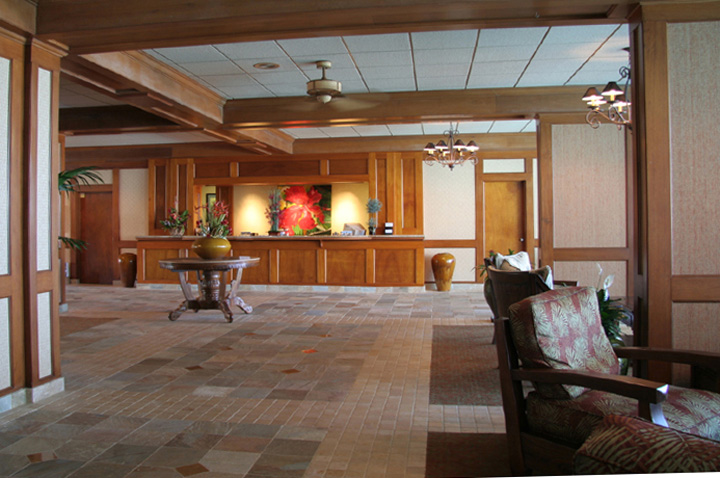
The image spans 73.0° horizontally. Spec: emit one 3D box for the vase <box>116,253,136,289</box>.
[{"bbox_3d":[-5.201,0.678,10.908,0.358,0.735,0.312,-4,9,-24],"label":"vase"}]

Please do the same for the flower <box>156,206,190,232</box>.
[{"bbox_3d":[-4.165,-0.398,10.939,0.625,0.538,0.514,-1,7,-6],"label":"flower"}]

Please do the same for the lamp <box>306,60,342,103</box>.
[{"bbox_3d":[-0.551,-2.171,6.688,0.651,0.473,0.543,7,12,15],"label":"lamp"}]

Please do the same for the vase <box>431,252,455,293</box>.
[{"bbox_3d":[1.721,0.669,10.127,0.457,0.756,0.557,1,8,8],"label":"vase"}]

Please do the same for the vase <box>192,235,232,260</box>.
[{"bbox_3d":[-2.154,0.108,7.155,0.518,0.198,0.464,-2,5,-35],"label":"vase"}]

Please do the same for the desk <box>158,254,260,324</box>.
[{"bbox_3d":[-2.231,0.694,7.335,1.520,0.643,1.273,-1,3,-22],"label":"desk"}]

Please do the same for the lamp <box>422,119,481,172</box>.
[{"bbox_3d":[1.705,-1.762,9.181,1.016,0.756,0.975,-1,1,35],"label":"lamp"}]
